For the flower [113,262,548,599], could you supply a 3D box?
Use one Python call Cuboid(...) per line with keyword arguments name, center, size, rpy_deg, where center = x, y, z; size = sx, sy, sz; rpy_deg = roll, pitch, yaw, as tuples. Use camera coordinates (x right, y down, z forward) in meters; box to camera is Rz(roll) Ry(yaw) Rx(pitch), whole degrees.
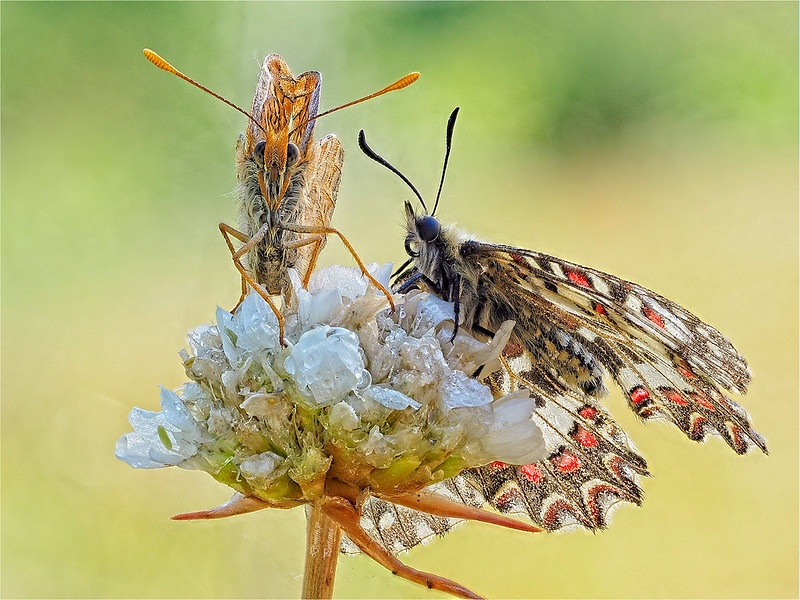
Cuboid(name="flower", center=(-0.155, 0.275, 2.236), size=(1.008, 0.567, 0.589), rpy_deg=(4, -51, 4))
